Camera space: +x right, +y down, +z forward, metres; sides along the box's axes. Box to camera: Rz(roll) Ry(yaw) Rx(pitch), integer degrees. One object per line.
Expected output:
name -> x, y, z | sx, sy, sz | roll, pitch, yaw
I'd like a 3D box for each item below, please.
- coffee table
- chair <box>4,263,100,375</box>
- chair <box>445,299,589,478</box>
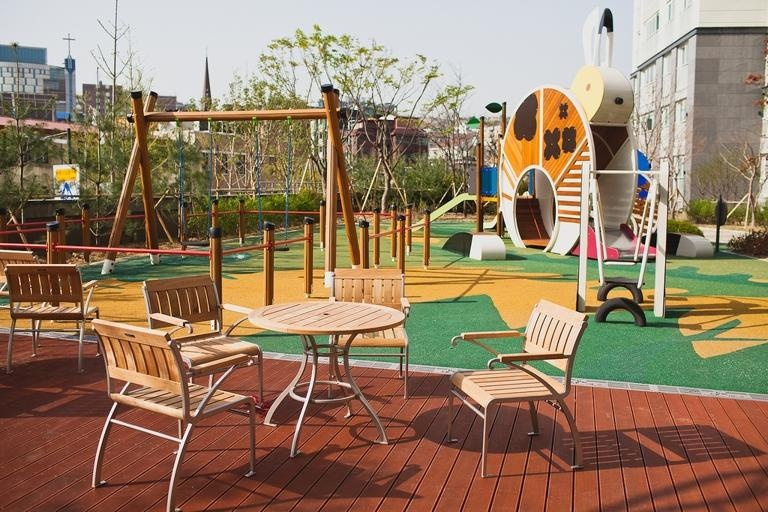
coffee table -> -0.604, 1.202, 6.492 | 1.468, 1.246, 1.531 | 4, 6, 24
chair -> -4.094, 0.815, 7.638 | 1.013, 1.504, 1.093 | 2, 9, -4
chair -> 1.265, 1.161, 5.839 | 1.117, 1.373, 0.941 | -1, 12, -9
